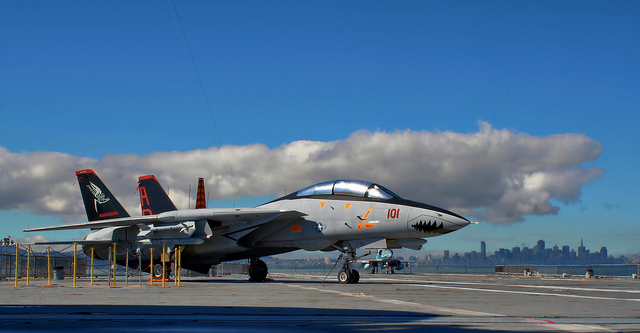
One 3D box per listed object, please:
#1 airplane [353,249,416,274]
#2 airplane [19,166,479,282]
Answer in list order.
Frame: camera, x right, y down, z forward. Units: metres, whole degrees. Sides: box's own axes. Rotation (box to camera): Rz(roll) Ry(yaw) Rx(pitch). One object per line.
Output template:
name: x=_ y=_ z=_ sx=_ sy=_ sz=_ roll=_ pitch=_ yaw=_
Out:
airplane: x=6.591 y=8.976 z=76.164 sx=5.062 sy=1.484 sz=4.704 roll=-1 pitch=-6 yaw=36
airplane: x=-4.843 y=3.067 z=51.023 sx=26.235 sy=5.876 sz=24.951 roll=-3 pitch=-3 yaw=27
